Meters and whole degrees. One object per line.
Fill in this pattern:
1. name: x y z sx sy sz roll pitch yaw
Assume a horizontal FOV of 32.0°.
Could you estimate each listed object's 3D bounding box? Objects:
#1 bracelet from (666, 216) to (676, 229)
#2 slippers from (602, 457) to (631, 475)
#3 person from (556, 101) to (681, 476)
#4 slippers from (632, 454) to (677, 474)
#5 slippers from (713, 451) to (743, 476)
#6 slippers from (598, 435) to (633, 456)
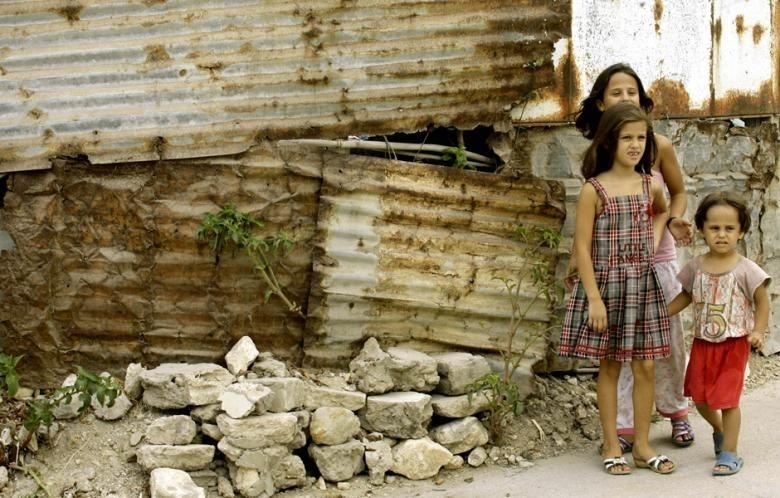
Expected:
1. bracelet: 1.964 -0.191 9.420 0.064 0.064 0.077 12 -13 -19
2. slippers: 1.554 1.458 9.157 0.184 0.111 0.131 -1 9 9
3. person: 1.545 0.254 9.236 0.746 2.464 0.675 -2 10 8
4. slippers: 1.812 1.451 9.169 0.235 0.070 0.113 3 20 43
5. slippers: 2.271 1.428 9.048 0.199 0.137 0.137 0 9 12
6. slippers: 1.604 1.368 9.386 0.105 0.096 0.280 -4 -9 24
